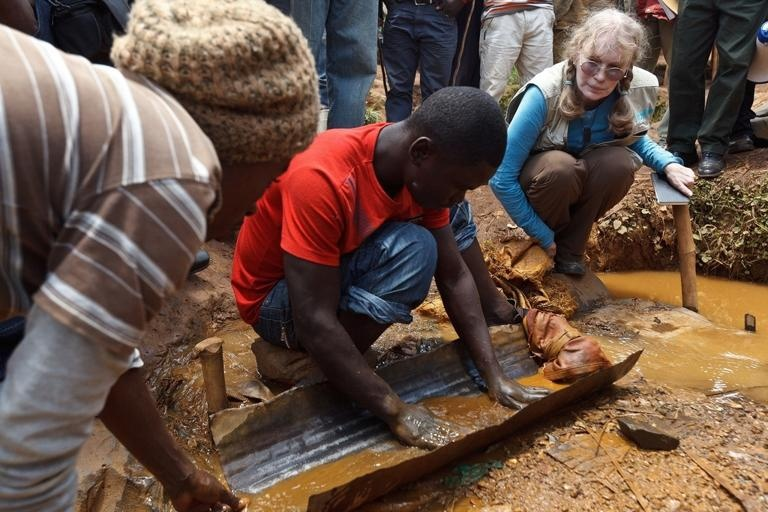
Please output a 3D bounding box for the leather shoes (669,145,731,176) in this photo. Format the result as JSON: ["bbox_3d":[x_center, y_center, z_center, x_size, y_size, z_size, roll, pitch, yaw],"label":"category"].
[{"bbox_3d":[2.669,-0.801,5.021,0.493,0.196,0.221,36,5,37],"label":"leather shoes"}]

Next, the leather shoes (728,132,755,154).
[{"bbox_3d":[3.225,-1.012,5.359,0.116,0.143,0.314,-3,6,5],"label":"leather shoes"}]

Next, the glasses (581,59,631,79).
[{"bbox_3d":[1.372,-1.161,3.755,0.262,0.129,0.060,3,26,16],"label":"glasses"}]

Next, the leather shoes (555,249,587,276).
[{"bbox_3d":[1.341,0.047,4.291,0.151,0.156,0.188,-9,12,-41],"label":"leather shoes"}]
